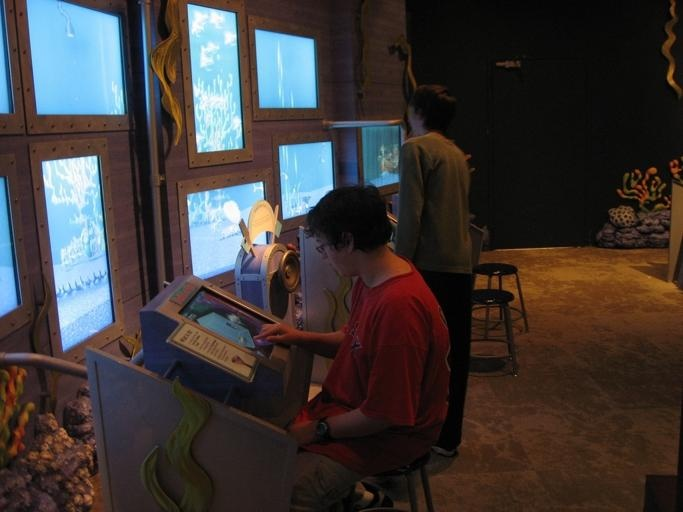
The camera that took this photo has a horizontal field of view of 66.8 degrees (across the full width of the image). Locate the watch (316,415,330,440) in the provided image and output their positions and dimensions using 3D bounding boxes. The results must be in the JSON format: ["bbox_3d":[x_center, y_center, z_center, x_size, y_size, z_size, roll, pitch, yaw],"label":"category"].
[{"bbox_3d":[-0.052,0.529,1.578,0.040,0.069,0.061,0,-7,3],"label":"watch"}]
